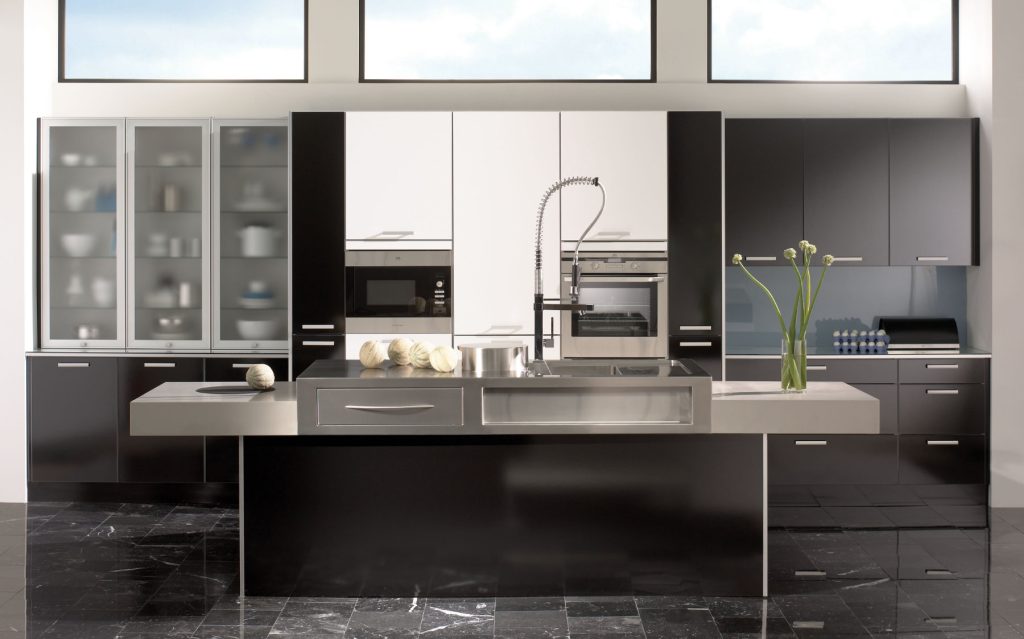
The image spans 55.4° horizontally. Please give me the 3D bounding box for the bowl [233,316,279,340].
[{"bbox_3d":[-1.967,0.055,7.580,0.212,0.114,0.206,1,2,0],"label":"bowl"}]

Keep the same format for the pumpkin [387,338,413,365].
[{"bbox_3d":[-0.707,0.201,6.109,0.169,0.171,0.168,8,-5,-12],"label":"pumpkin"}]

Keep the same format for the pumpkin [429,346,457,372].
[{"bbox_3d":[-0.410,0.236,5.967,0.198,0.153,0.169,-2,4,-12],"label":"pumpkin"}]

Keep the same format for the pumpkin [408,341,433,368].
[{"bbox_3d":[-0.572,0.216,6.042,0.139,0.152,0.130,4,29,-36],"label":"pumpkin"}]

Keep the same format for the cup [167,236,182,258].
[{"bbox_3d":[-2.617,-0.562,7.566,0.138,0.192,0.125,0,-2,-6],"label":"cup"}]

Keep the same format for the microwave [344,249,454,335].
[{"bbox_3d":[-0.758,-0.225,7.663,0.971,0.626,0.524,2,3,29],"label":"microwave"}]

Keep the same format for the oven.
[{"bbox_3d":[0.831,-0.093,7.782,1.162,0.981,0.763,0,-2,2],"label":"oven"}]

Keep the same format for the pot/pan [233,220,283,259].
[{"bbox_3d":[-1.963,-0.619,7.458,0.287,0.204,0.297,-1,3,-3],"label":"pot/pan"}]

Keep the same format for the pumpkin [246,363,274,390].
[{"bbox_3d":[-1.565,0.344,6.067,0.184,0.157,0.152,-3,-18,-11],"label":"pumpkin"}]

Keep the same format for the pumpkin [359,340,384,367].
[{"bbox_3d":[-0.876,0.208,6.123,0.166,0.158,0.198,-2,3,-7],"label":"pumpkin"}]
